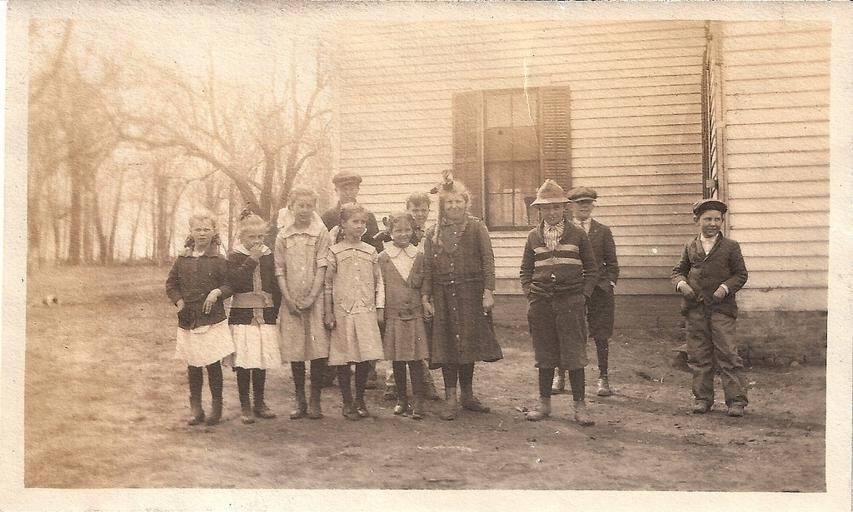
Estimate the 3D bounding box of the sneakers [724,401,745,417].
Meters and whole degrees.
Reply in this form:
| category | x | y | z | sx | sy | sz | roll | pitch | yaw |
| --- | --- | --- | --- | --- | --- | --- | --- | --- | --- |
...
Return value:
| category | x | y | z | sx | sy | sz | roll | pitch | yaw |
| --- | --- | --- | --- | --- | --- | --- | --- | --- | --- |
| sneakers | 3.862 | 1.888 | 11.177 | 0.280 | 0.166 | 0.183 | -1 | 5 | -4 |

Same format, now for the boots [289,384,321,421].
| category | x | y | z | sx | sy | sz | roll | pitch | yaw |
| --- | --- | --- | --- | --- | --- | --- | --- | --- | --- |
| boots | -1.505 | 1.817 | 11.142 | 0.454 | 0.369 | 0.462 | 2 | -13 | -9 |

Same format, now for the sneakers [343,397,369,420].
| category | x | y | z | sx | sy | sz | roll | pitch | yaw |
| --- | --- | --- | --- | --- | --- | --- | --- | --- | --- |
| sneakers | -0.899 | 1.879 | 11.148 | 0.327 | 0.224 | 0.240 | -3 | 5 | -23 |

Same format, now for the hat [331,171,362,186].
| category | x | y | z | sx | sy | sz | roll | pitch | yaw |
| --- | --- | --- | --- | --- | --- | --- | --- | --- | --- |
| hat | -1.081 | -1.056 | 12.222 | 0.630 | 0.173 | 0.630 | -1 | -3 | -6 |

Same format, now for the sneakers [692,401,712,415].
| category | x | y | z | sx | sy | sz | roll | pitch | yaw |
| --- | --- | --- | --- | --- | --- | --- | --- | --- | --- |
| sneakers | 3.473 | 1.883 | 11.333 | 0.272 | 0.155 | 0.158 | -1 | 5 | 3 |

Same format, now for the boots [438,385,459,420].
| category | x | y | z | sx | sy | sz | roll | pitch | yaw |
| --- | --- | --- | --- | --- | --- | --- | --- | --- | --- |
| boots | 0.262 | 1.806 | 11.197 | 0.222 | 0.398 | 0.291 | -1 | 5 | 1 |

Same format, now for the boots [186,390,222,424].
| category | x | y | z | sx | sy | sz | roll | pitch | yaw |
| --- | --- | --- | --- | --- | --- | --- | --- | --- | --- |
| boots | -2.706 | 1.838 | 10.904 | 0.513 | 0.245 | 0.357 | 0 | -13 | -8 |

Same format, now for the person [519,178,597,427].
| category | x | y | z | sx | sy | sz | roll | pitch | yaw |
| --- | --- | --- | --- | --- | --- | --- | --- | --- | --- |
| person | 1.620 | 0.559 | 11.102 | 0.913 | 2.977 | 0.562 | -1 | 6 | 6 |

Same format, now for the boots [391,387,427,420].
| category | x | y | z | sx | sy | sz | roll | pitch | yaw |
| --- | --- | --- | --- | --- | --- | --- | --- | --- | --- |
| boots | -0.225 | 1.882 | 11.236 | 0.383 | 0.279 | 0.408 | -1 | -19 | 4 |

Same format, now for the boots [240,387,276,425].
| category | x | y | z | sx | sy | sz | roll | pitch | yaw |
| --- | --- | --- | --- | --- | --- | --- | --- | --- | --- |
| boots | -2.108 | 1.802 | 11.073 | 0.405 | 0.408 | 0.393 | -2 | 5 | -11 |

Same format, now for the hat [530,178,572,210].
| category | x | y | z | sx | sy | sz | roll | pitch | yaw |
| --- | --- | --- | --- | --- | --- | --- | --- | --- | --- |
| hat | 1.540 | -0.771 | 11.322 | 0.547 | 0.219 | 0.490 | -7 | 9 | 10 |

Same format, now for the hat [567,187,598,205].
| category | x | y | z | sx | sy | sz | roll | pitch | yaw |
| --- | --- | --- | --- | --- | --- | --- | --- | --- | --- |
| hat | 2.116 | -0.839 | 12.450 | 0.343 | 0.134 | 0.369 | 0 | 1 | -1 |
